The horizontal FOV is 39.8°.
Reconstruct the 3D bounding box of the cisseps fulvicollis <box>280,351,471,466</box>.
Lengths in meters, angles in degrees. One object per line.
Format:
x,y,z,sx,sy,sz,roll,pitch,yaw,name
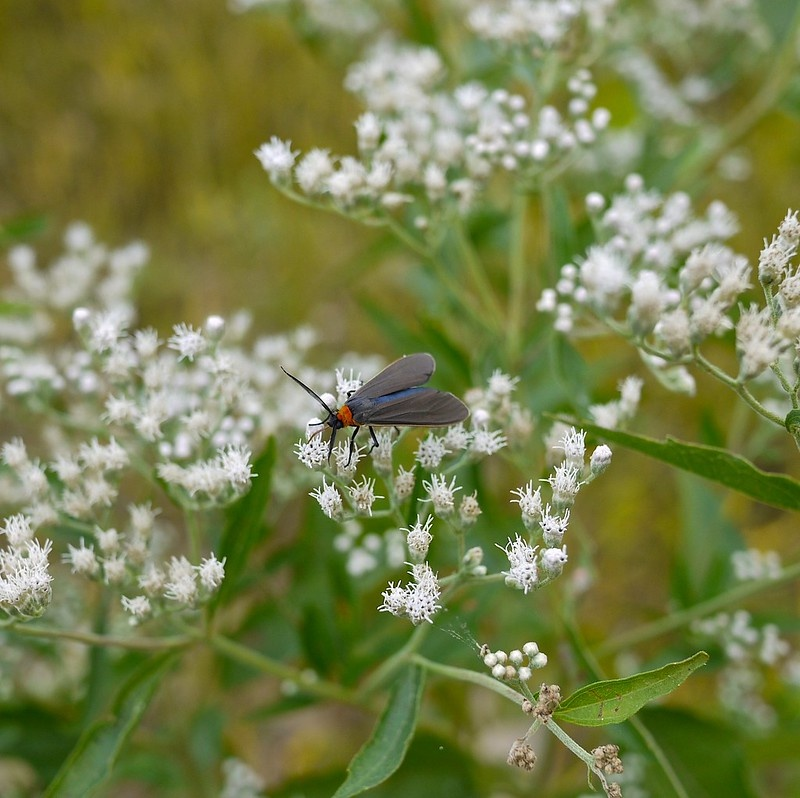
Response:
-0.029,0.017,2.705,0.316,0.120,0.284,-21,44,-3,cisseps fulvicollis
